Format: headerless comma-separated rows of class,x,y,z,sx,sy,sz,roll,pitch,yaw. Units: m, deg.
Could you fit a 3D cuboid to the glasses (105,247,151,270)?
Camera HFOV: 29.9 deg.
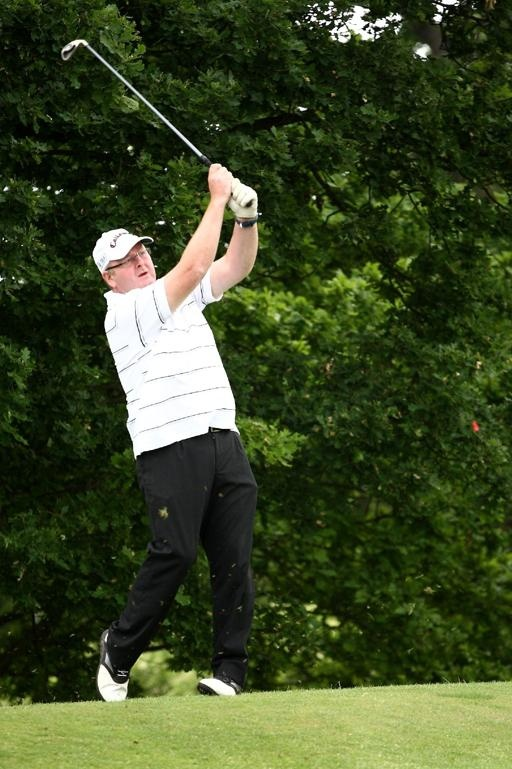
glasses,-0.503,-0.468,3.762,0.094,0.043,0.127,-31,-1,-41

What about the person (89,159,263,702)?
person,-0.254,0.163,3.569,0.656,2.015,0.624,5,-8,-21

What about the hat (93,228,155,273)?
hat,-0.565,-0.514,3.774,0.226,0.125,0.165,-31,6,39

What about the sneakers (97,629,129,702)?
sneakers,-0.527,1.066,3.560,0.116,0.278,0.124,-7,6,-39
